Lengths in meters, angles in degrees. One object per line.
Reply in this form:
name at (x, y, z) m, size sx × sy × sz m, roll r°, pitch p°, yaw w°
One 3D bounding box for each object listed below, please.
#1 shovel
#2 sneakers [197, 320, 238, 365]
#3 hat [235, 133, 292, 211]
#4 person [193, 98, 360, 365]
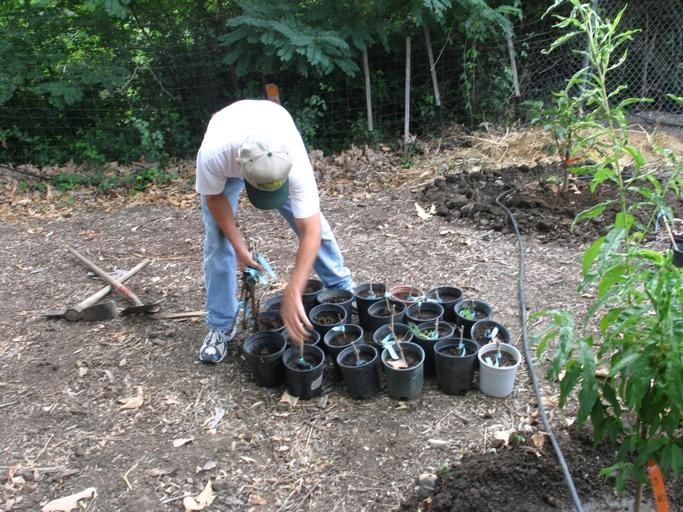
shovel at (-2.159, 0.215, 5.131) m, size 1.414 × 0.152 × 0.391 m, roll 22°, pitch 33°, yaw 33°
sneakers at (-0.948, 0.666, 4.360) m, size 0.184 × 0.151 × 0.424 m, roll 8°, pitch 21°, yaw 2°
hat at (-0.476, -0.518, 3.483) m, size 0.396 × 0.425 × 0.285 m, roll -11°, pitch 12°, yaw -10°
person at (-0.500, -0.139, 4.045) m, size 1.151 × 1.911 × 0.886 m, roll 9°, pitch 25°, yaw 32°
